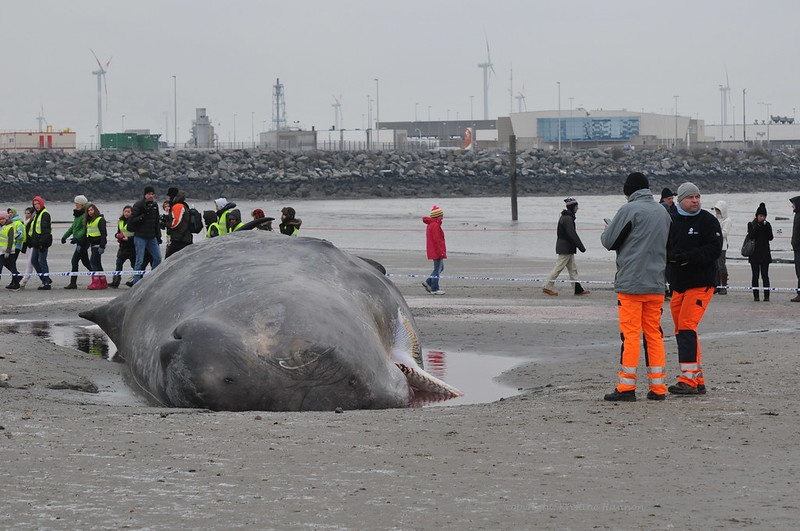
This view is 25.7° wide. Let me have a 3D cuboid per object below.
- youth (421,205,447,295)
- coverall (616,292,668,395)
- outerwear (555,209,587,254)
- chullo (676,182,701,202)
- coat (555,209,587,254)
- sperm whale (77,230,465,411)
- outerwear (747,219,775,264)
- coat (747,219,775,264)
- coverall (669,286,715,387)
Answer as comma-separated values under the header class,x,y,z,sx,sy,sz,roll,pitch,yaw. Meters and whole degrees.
class,x,y,z,sx,sy,sz,roll,pitch,yaw
youth,0.805,-0.337,40.638,0.659,2.007,0.691,-2,-6,16
coverall,4.257,1.282,31.054,0.986,2.071,0.672,3,-6,-22
outerwear,3.890,-0.763,40.328,0.537,1.087,1.225,-1,4,4
chullo,5.236,-1.355,31.736,0.329,0.310,0.366,0,1,-41
coat,3.890,-0.764,40.330,0.537,1.087,1.237,-1,4,4
sperm whale,-2.187,0.947,33.738,6.129,2.517,7.756,-3,12,-18
outerwear,8.150,-0.556,39.620,0.523,0.983,0.596,-1,4,11
coat,8.150,-0.556,39.621,0.523,0.983,0.599,-1,4,11
coverall,5.255,1.260,31.483,0.729,1.733,0.728,-1,0,4
